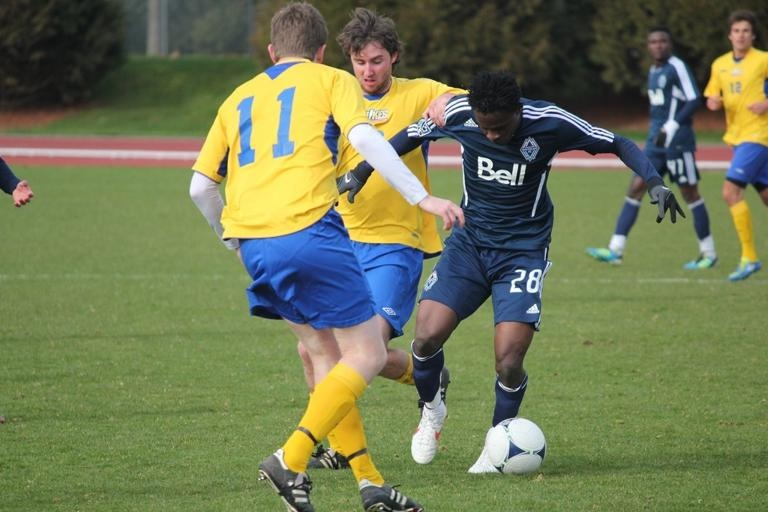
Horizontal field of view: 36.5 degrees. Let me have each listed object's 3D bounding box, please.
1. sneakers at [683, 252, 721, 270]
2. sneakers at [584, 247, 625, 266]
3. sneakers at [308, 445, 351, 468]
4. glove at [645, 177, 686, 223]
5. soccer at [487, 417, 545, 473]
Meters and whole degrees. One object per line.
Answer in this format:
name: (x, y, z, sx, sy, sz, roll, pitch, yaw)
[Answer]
sneakers: (4.498, 0.091, 16.702, 0.581, 0.244, 0.197, -3, 2, 8)
sneakers: (3.214, 0.010, 17.132, 0.587, 0.271, 0.212, 19, -3, 11)
sneakers: (-0.576, 2.183, 12.484, 0.541, 0.231, 0.181, 9, -6, -5)
glove: (2.938, -0.575, 12.240, 0.350, 0.513, 0.570, 0, 15, 11)
soccer: (1.377, 1.986, 12.309, 0.562, 0.531, 0.544, 3, 21, -37)
